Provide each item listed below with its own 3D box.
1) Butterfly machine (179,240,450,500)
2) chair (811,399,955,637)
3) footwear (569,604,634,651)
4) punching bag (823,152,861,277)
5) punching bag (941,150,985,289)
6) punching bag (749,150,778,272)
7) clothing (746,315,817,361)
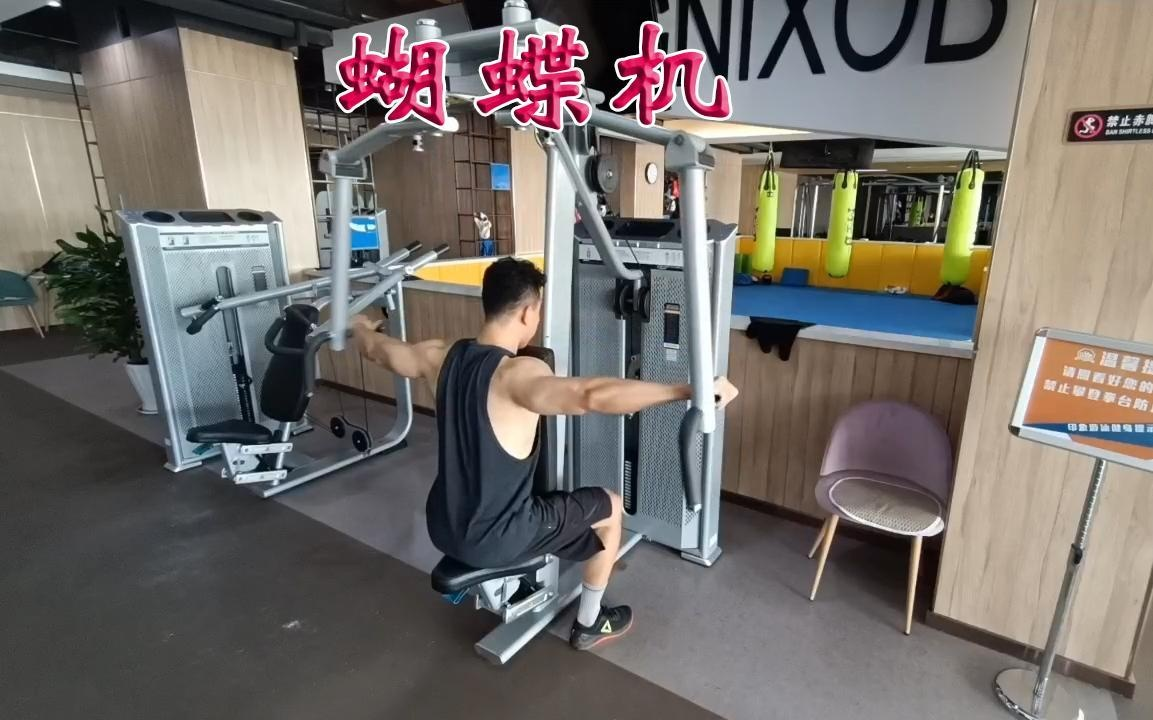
[{"bbox_3d":[-1.943,0.054,4.940,1.300,1.621,2.007,14,17,31],"label":"Butterfly machine"},{"bbox_3d":[1.802,0.895,3.886,0.691,1.216,0.579,10,21,29],"label":"chair"},{"bbox_3d":[0.159,1.488,3.752,0.412,0.177,0.165,-14,20,-35],"label":"footwear"},{"bbox_3d":[3.514,-1.780,8.657,0.299,1.414,0.533,6,19,19],"label":"punching bag"},{"bbox_3d":[4.406,-1.536,7.450,0.287,1.556,1.393,10,20,28],"label":"punching bag"},{"bbox_3d":[2.519,-1.922,8.645,0.256,1.576,0.684,5,18,15],"label":"punching bag"},{"bbox_3d":[1.360,-0.133,4.367,0.356,0.240,0.050,8,8,27],"label":"clothing"}]
